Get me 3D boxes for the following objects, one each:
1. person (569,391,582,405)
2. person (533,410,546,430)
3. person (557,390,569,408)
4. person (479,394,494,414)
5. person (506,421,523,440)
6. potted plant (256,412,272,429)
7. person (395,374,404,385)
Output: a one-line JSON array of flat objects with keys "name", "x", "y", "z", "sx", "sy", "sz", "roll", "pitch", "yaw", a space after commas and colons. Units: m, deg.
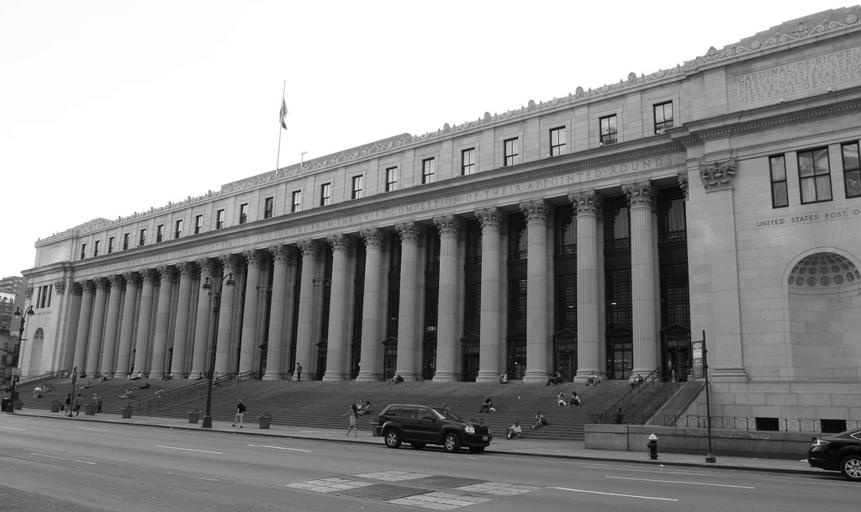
[{"name": "person", "x": 10.839, "y": 10.691, "z": 62.210, "sx": 0.877, "sy": 1.137, "sz": 1.547, "roll": -3, "pitch": -15, "yaw": 9}, {"name": "person", "x": 7.891, "y": 11.904, "z": 59.935, "sx": 0.919, "sy": 1.117, "sz": 1.231, "roll": -5, "pitch": -16, "yaw": 17}, {"name": "person", "x": 9.917, "y": 10.803, "z": 62.495, "sx": 0.825, "sy": 1.165, "sz": 1.603, "roll": -3, "pitch": -15, "yaw": 8}, {"name": "person", "x": 4.311, "y": 11.477, "z": 63.378, "sx": 1.228, "sy": 1.080, "sz": 1.245, "roll": -15, "pitch": -23, "yaw": 41}, {"name": "person", "x": 5.862, "y": 12.366, "z": 58.287, "sx": 1.149, "sy": 1.181, "sz": 1.376, "roll": -1, "pitch": -18, "yaw": 25}, {"name": "potted plant", "x": -12.680, "y": 12.701, "z": 63.448, "sx": 0.744, "sy": 1.132, "sz": 1.641, "roll": 5, "pitch": -15, "yaw": -17}, {"name": "person", "x": -2.847, "y": 10.953, "z": 73.914, "sx": 0.785, "sy": 0.814, "sz": 0.871, "roll": -2, "pitch": -15, "yaw": 6}]
